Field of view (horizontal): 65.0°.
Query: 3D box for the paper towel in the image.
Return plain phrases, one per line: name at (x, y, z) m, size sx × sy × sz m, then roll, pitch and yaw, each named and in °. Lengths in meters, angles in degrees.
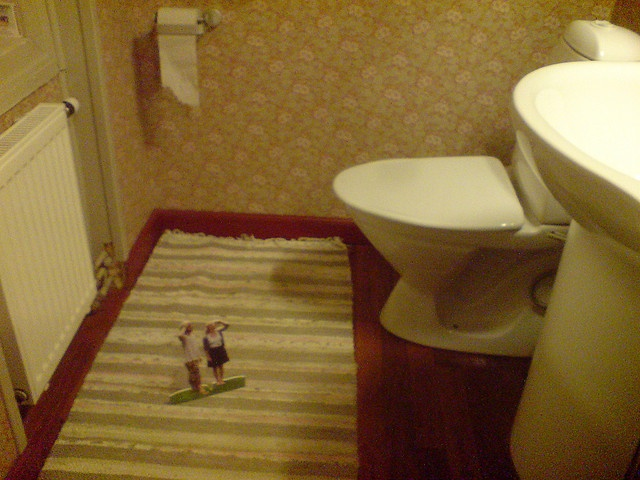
paper towel at (-0.430, -0.561, 1.547) m, size 0.124 × 0.267 × 0.136 m, roll -6°, pitch 39°, yaw -10°
